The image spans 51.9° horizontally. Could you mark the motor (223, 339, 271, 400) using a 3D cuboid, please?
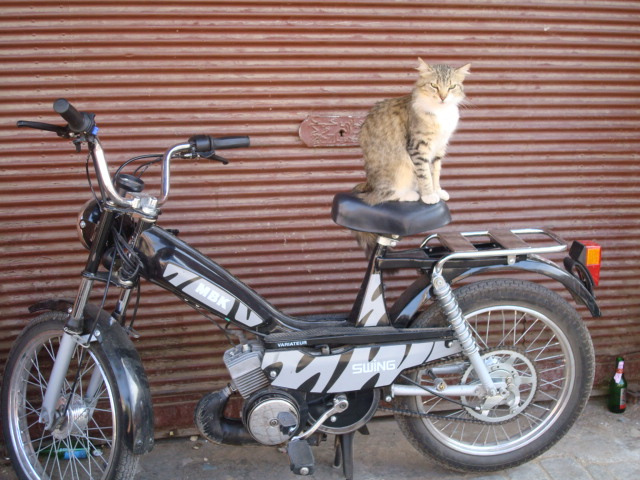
[{"bbox_3d":[-0.437,0.760,3.882,0.240,0.290,0.262,-5,25,-13],"label":"motor"}]
